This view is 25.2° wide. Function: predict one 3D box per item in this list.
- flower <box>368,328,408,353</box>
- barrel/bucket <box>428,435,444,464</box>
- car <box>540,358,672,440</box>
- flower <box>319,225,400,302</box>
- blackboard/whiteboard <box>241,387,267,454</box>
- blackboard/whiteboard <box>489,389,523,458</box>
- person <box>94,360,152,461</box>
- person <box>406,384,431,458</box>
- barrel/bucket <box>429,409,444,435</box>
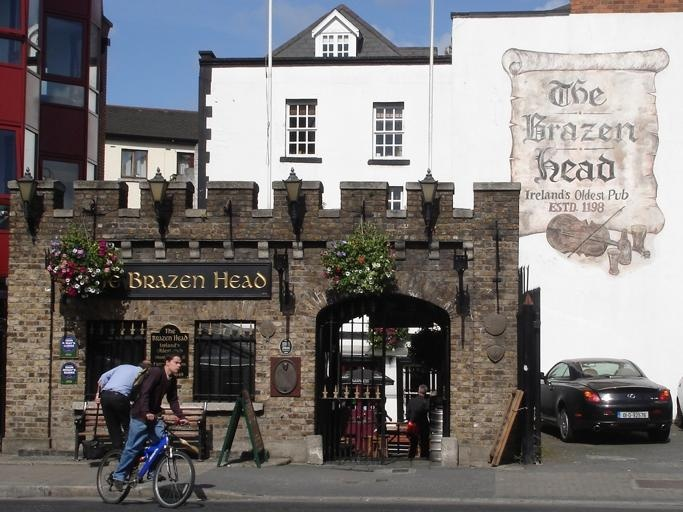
[{"bbox_3d":[1.252,2.734,42.559,1.274,0.873,1.297,-2,-2,34],"label":"flower"},{"bbox_3d":[2.366,4.918,38.648,0.568,0.627,0.579,0,-8,0],"label":"barrel/bucket"},{"bbox_3d":[6.658,3.810,39.374,1.909,2.126,3.365,5,-5,-39],"label":"car"},{"bbox_3d":[0.444,0.124,36.606,1.706,1.665,0.724,2,-4,2],"label":"flower"},{"bbox_3d":[-2.093,4.069,36.570,0.477,1.471,1.215,-17,-11,0],"label":"blackboard/whiteboard"},{"bbox_3d":[3.922,4.167,36.622,0.673,1.510,0.926,0,-1,12],"label":"blackboard/whiteboard"},{"bbox_3d":[-5.004,3.510,34.953,0.979,1.997,1.022,5,-1,-20],"label":"person"},{"bbox_3d":[2.058,4.352,39.713,0.511,1.708,0.700,2,-1,22],"label":"person"},{"bbox_3d":[2.476,4.335,39.455,0.569,0.621,0.580,-1,-8,0],"label":"barrel/bucket"}]
